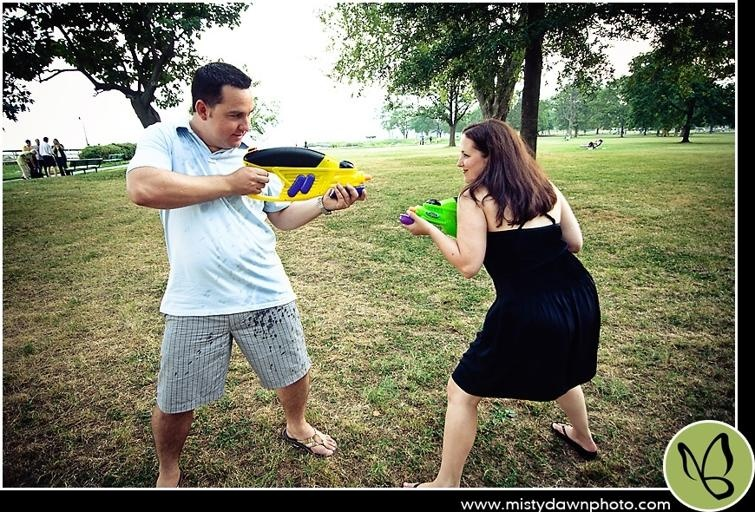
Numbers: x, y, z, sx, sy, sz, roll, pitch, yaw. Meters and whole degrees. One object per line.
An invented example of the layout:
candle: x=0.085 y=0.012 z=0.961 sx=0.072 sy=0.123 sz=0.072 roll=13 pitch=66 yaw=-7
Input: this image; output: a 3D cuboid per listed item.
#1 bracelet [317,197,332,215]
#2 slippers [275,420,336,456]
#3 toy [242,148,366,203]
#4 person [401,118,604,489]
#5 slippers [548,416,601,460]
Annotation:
bracelet: x=-0.485 y=-0.413 z=4.108 sx=0.106 sy=0.150 sz=0.157 roll=-12 pitch=20 yaw=9
slippers: x=-0.636 y=1.713 z=4.423 sx=0.451 sy=0.131 sz=0.233 roll=13 pitch=24 yaw=18
toy: x=-0.774 y=-0.755 z=4.160 sx=1.314 sy=0.531 sz=0.365 roll=3 pitch=21 yaw=-10
person: x=1.100 y=0.406 z=3.959 sx=1.504 sy=2.973 sz=0.626 roll=-6 pitch=16 yaw=-9
slippers: x=1.831 y=1.728 z=4.428 sx=0.178 sy=0.124 sz=0.465 roll=12 pitch=24 yaw=-44
